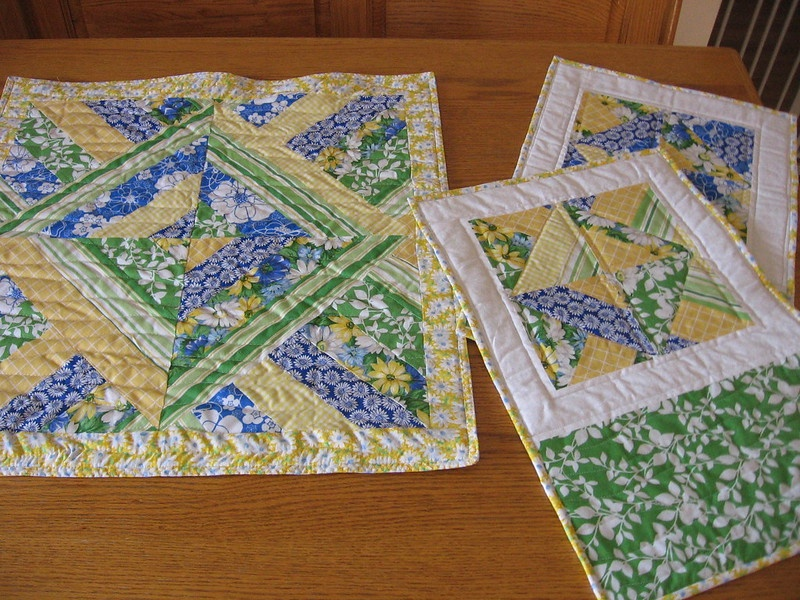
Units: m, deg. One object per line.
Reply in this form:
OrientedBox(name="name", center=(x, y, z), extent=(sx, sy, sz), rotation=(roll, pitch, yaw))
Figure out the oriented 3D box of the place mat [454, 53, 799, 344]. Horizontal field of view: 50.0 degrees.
OrientedBox(name="place mat", center=(0.585, -0.334, 2.192), extent=(0.672, 0.044, 0.594), rotation=(12, 54, 5))
